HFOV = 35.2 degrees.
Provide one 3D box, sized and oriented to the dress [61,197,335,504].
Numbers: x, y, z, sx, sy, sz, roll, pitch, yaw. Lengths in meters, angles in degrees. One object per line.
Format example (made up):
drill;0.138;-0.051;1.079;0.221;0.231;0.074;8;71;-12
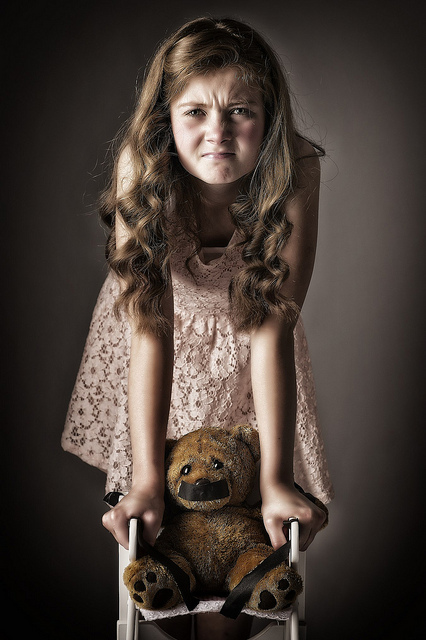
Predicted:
dress;-0.044;0.075;1.487;0.716;0.724;0.561;0;3;-1

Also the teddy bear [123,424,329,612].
teddy bear;0.003;0.277;0.950;0.265;0.232;0.202;-3;-8;2
